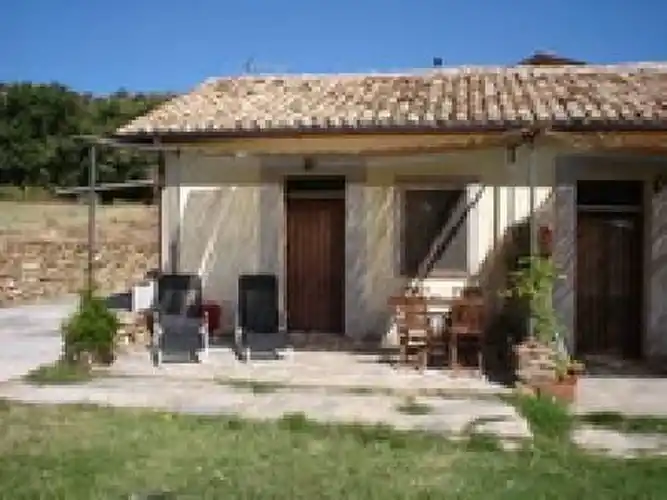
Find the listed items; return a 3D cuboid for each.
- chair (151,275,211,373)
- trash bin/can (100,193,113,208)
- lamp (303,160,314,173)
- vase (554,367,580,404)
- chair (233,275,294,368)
[{"bbox_3d":[-2.714,1.264,10.557,0.886,1.404,1.865,3,0,-20],"label":"chair"},{"bbox_3d":[-10.775,-2.371,28.358,0.432,0.466,0.454,1,-4,-15],"label":"trash bin/can"},{"bbox_3d":[-0.472,-1.631,11.548,0.165,0.448,0.043,3,9,11],"label":"lamp"},{"bbox_3d":[3.506,2.068,9.128,0.424,0.485,0.372,0,-3,5],"label":"vase"},{"bbox_3d":[-1.266,1.290,10.745,0.970,1.373,1.313,-2,10,-13],"label":"chair"}]
